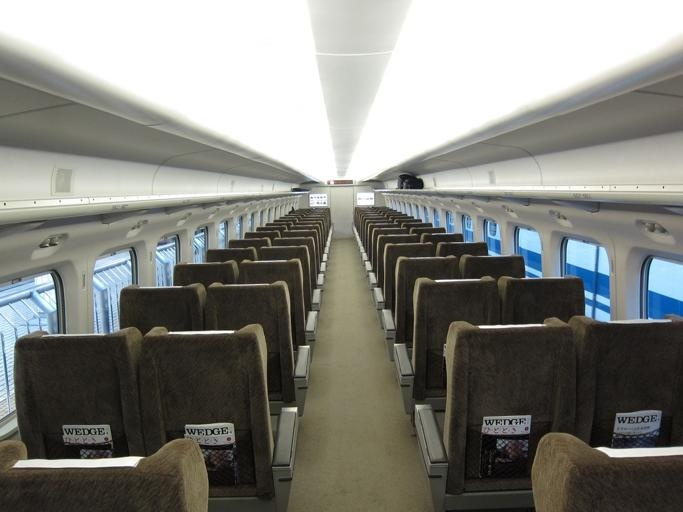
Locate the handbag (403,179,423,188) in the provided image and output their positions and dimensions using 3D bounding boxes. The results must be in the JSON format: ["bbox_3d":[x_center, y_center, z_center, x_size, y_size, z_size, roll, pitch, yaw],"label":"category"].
[{"bbox_3d":[2.170,-2.148,15.135,0.350,0.351,0.342,2,7,7],"label":"handbag"}]
